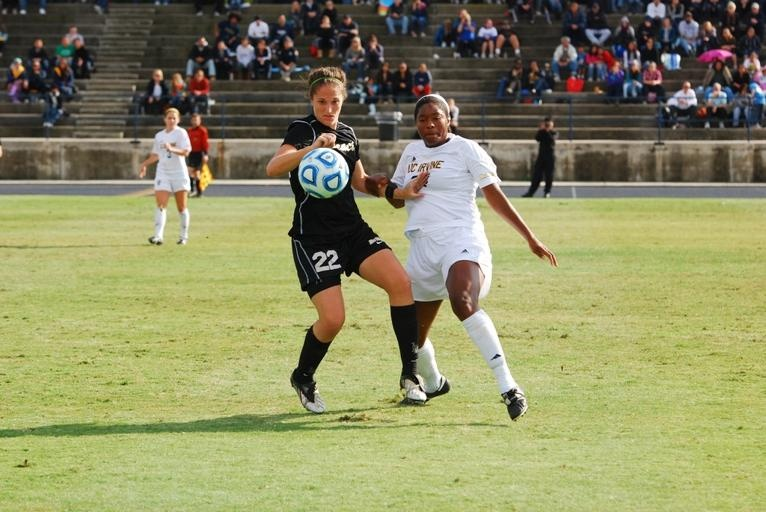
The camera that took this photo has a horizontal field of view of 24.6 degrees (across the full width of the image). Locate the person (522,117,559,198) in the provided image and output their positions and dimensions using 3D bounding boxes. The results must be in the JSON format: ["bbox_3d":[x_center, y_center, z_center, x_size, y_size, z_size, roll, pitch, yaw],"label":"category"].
[{"bbox_3d":[4.770,-2.927,51.731,0.863,2.402,0.780,2,-3,-13],"label":"person"}]

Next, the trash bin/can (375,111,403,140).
[{"bbox_3d":[0.236,-4.283,57.064,0.995,1.042,0.899,0,2,-3],"label":"trash bin/can"}]
